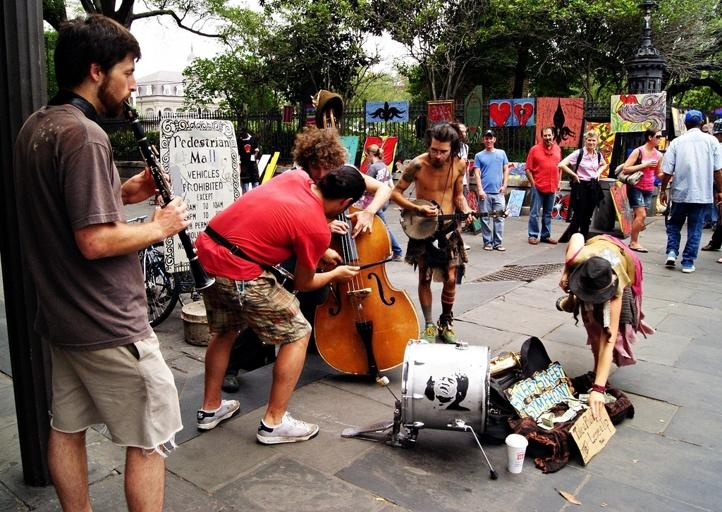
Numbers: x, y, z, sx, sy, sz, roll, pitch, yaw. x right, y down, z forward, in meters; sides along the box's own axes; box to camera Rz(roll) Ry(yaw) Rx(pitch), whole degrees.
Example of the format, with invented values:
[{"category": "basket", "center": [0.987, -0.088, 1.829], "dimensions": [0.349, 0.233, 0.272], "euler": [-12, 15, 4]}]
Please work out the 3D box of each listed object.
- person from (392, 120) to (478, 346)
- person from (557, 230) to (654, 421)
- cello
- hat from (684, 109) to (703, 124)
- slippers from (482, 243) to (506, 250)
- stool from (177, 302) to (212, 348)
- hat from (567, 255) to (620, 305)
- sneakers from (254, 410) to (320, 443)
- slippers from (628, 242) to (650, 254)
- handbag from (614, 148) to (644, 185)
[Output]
[{"category": "person", "center": [0.767, -0.234, 5.596], "dimensions": [0.802, 2.048, 0.866], "euler": [-2, 4, -25]}, {"category": "person", "center": [1.833, 0.500, 4.229], "dimensions": [0.679, 1.259, 1.067], "euler": [9, 15, 35]}, {"category": "cello", "center": [0.016, 0.158, 4.484], "dimensions": [0.654, 1.587, 0.340], "euler": [-6, 3, 7]}, {"category": "hat", "center": [4.914, -2.043, 8.017], "dimensions": [0.198, 0.171, 0.278], "euler": [5, 13, 23]}, {"category": "slippers", "center": [2.372, -0.159, 9.611], "dimensions": [0.374, 0.091, 0.215], "euler": [2, 12, 9]}, {"category": "stool", "center": [-1.803, 0.742, 5.604], "dimensions": [0.356, 0.332, 0.335], "euler": [8, -9, -34]}, {"category": "hat", "center": [1.730, 0.194, 4.066], "dimensions": [0.330, 0.378, 0.234], "euler": [8, 15, 34]}, {"category": "sneakers", "center": [-0.527, 1.236, 3.949], "dimensions": [0.479, 0.224, 0.178], "euler": [0, 1, -14]}, {"category": "slippers", "center": [4.413, -0.129, 8.617], "dimensions": [0.144, 0.100, 0.271], "euler": [-32, 41, -22]}, {"category": "handbag", "center": [4.655, -1.546, 9.385], "dimensions": [0.348, 0.611, 0.552], "euler": [5, 13, 20]}]
